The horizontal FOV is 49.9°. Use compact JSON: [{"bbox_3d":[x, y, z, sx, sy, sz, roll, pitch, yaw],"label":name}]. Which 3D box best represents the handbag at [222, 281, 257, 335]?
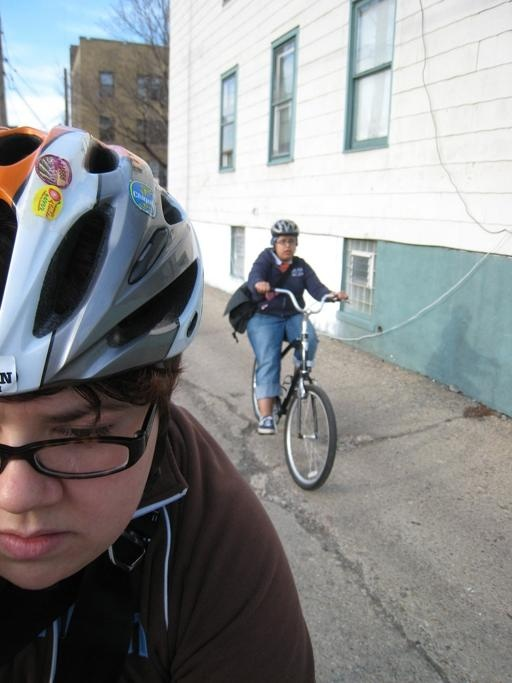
[{"bbox_3d":[-0.169,-0.280,5.281,0.171,0.437,0.403,16,21,-26],"label":"handbag"}]

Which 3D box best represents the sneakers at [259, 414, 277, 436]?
[{"bbox_3d":[0.098,0.751,5.016,0.093,0.122,0.272,0,15,-2],"label":"sneakers"}]
